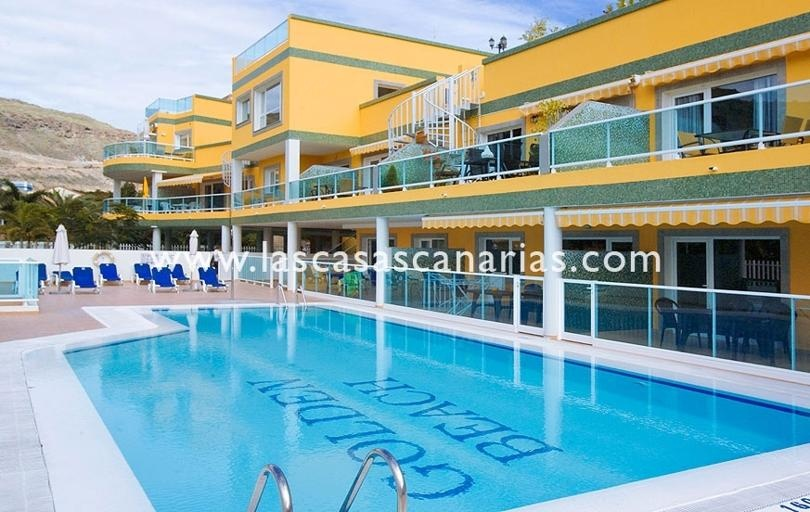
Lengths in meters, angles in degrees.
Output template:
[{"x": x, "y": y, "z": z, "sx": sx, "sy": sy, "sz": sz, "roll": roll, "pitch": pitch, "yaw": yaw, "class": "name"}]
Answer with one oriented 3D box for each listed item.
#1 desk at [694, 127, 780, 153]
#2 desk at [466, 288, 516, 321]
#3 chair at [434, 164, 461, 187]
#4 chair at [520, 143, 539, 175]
[{"x": 7.167, "y": -2.531, "z": 13.044, "sx": 0.606, "sy": 0.478, "sz": 1.691, "roll": -2, "pitch": 1, "yaw": -42, "class": "desk"}, {"x": 2.539, "y": 1.428, "z": 17.265, "sx": 0.940, "sy": 0.713, "sz": 1.664, "roll": -4, "pitch": 5, "yaw": -34, "class": "desk"}, {"x": 1.303, "y": -2.589, "z": 18.881, "sx": 0.769, "sy": 0.843, "sz": 0.759, "roll": 1, "pitch": -2, "yaw": -7, "class": "chair"}, {"x": 3.449, "y": -2.742, "z": 16.654, "sx": 0.514, "sy": 0.785, "sz": 1.177, "roll": -1, "pitch": 1, "yaw": 11, "class": "chair"}]
